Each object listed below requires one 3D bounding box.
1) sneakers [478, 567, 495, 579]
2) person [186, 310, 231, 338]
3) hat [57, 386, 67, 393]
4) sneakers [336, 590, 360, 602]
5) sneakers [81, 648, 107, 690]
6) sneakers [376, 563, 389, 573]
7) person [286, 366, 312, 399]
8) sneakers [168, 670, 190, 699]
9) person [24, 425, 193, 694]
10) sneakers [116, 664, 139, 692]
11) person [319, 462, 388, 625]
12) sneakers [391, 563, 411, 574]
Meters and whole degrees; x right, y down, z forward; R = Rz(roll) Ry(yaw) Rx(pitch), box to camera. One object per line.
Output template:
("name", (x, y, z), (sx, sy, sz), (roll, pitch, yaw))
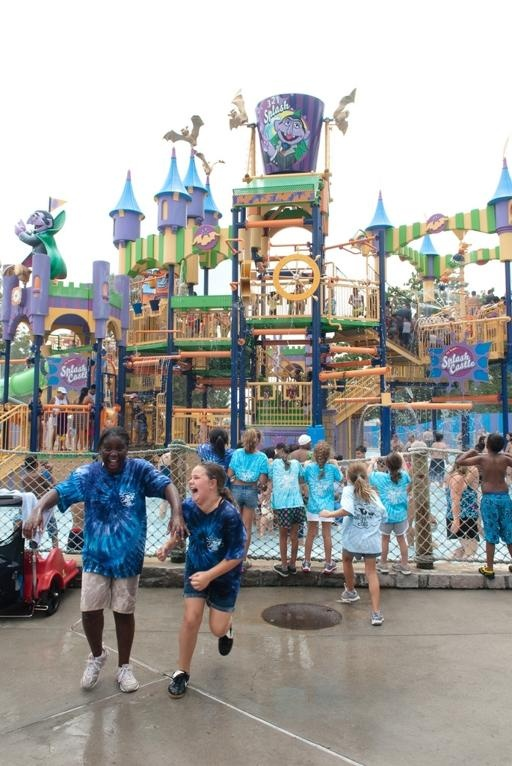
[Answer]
("sneakers", (2.263, 1.862, 8.440), (0.077, 0.068, 0.164), (0, 1, -1))
("person", (-1.188, -1.394, 21.458), (1.261, 0.797, 0.471), (-3, -6, 32))
("hat", (-5.234, 0.206, 23.207), (0.201, 0.088, 0.151), (10, -2, 28))
("sneakers", (0.831, 1.937, 7.838), (0.087, 0.092, 0.210), (0, -9, -37))
("sneakers", (-1.066, 1.837, 5.551), (0.103, 0.273, 0.121), (5, -9, 21))
("sneakers", (1.256, 1.853, 8.619), (0.053, 0.058, 0.131), (3, 4, -24))
("person", (1.016, 0.050, 20.971), (0.610, 0.387, 1.559), (5, 30, 1))
("sneakers", (-0.475, 1.880, 5.442), (0.100, 0.147, 0.236), (-2, -6, 25))
("person", (-0.946, 1.124, 5.532), (0.912, 1.643, 0.989), (1, -5, -6))
("sneakers", (-0.819, 1.869, 5.507), (0.135, 0.153, 0.216), (1, -5, -9))
("person", (0.849, 1.354, 7.487), (0.512, 1.312, 0.886), (0, -5, 7))
("sneakers", (1.433, 1.852, 8.591), (0.070, 0.073, 0.183), (-1, -1, -25))
